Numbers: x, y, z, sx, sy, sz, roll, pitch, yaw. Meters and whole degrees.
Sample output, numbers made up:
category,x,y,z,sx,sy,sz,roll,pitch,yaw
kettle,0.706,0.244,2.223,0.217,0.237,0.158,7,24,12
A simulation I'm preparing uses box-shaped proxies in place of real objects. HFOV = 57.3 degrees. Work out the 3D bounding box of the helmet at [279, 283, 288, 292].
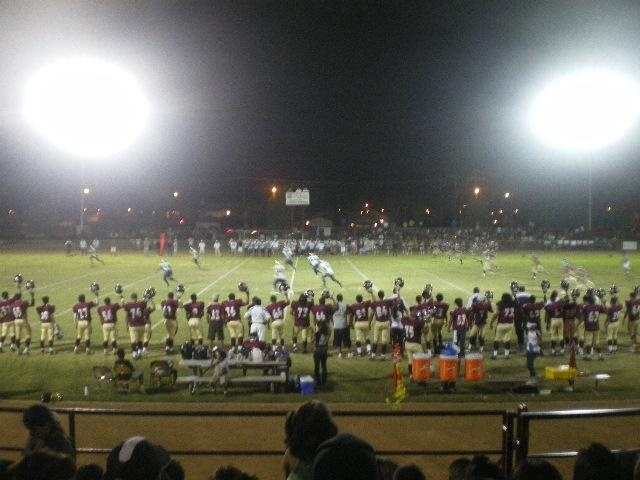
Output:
category,x,y,z,sx,sy,sz,roll,pitch,yaw
helmet,-1.214,1.625,19.873,0.283,0.113,0.221,-2,8,-31

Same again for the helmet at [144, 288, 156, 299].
category,x,y,z,sx,sy,sz,roll,pitch,yaw
helmet,-5.197,1.671,17.980,0.382,0.251,0.528,6,-22,-23

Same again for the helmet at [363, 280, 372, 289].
category,x,y,z,sx,sy,sz,roll,pitch,yaw
helmet,1.532,1.399,18.302,0.277,0.183,0.277,1,1,0

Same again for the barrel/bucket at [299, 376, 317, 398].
category,x,y,z,sx,sy,sz,roll,pitch,yaw
barrel/bucket,-0.273,3.437,13.800,0.339,0.438,0.448,-2,-1,-1

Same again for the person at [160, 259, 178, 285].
category,x,y,z,sx,sy,sz,roll,pitch,yaw
person,-7.832,1.681,30.314,1.237,0.662,2.156,4,13,-14

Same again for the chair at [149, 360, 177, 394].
category,x,y,z,sx,sy,sz,roll,pitch,yaw
chair,-3.896,3.315,14.586,0.527,0.801,0.836,2,11,-4
